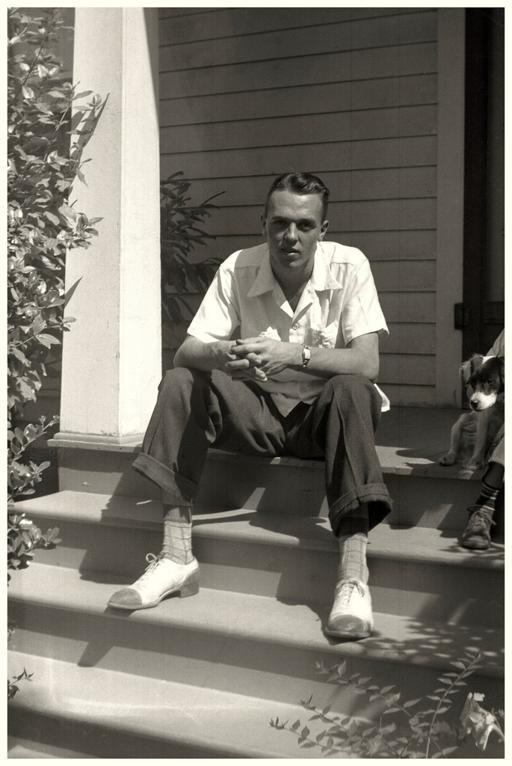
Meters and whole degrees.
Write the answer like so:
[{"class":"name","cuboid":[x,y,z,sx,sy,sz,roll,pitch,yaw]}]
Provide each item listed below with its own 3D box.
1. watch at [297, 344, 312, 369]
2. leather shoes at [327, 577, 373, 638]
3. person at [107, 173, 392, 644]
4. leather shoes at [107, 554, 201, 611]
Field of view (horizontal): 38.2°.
[{"class":"watch","cuboid":[0.134,-0.071,1.994,0.028,0.051,0.053,5,37,3]},{"class":"leather shoes","cuboid":[0.220,0.530,1.727,0.107,0.088,0.090,3,-1,9]},{"class":"person","cuboid":[0.086,-0.006,2.077,0.671,1.232,0.756,4,0,18]},{"class":"leather shoes","cuboid":[-0.270,0.515,2.028,0.272,0.144,0.105,-6,6,-43]}]
